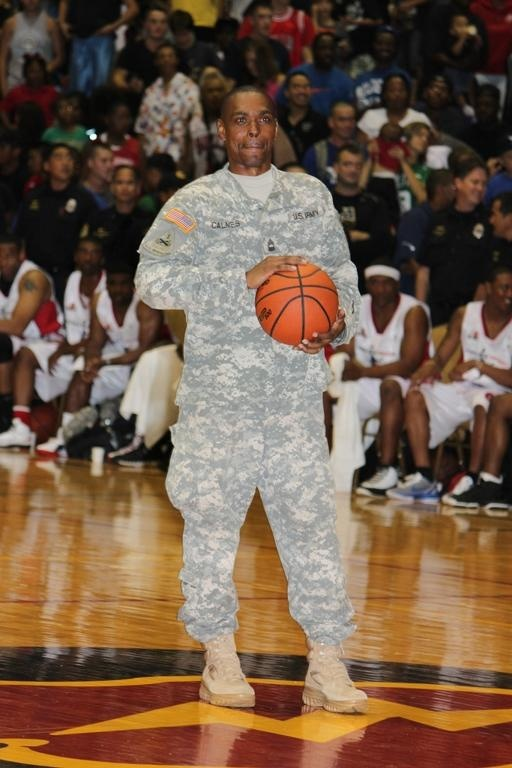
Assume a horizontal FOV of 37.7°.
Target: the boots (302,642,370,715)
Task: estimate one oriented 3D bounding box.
[{"bbox_3d":[0.173,0.618,1.583,0.129,0.110,0.149,9,52,4],"label":"boots"}]
